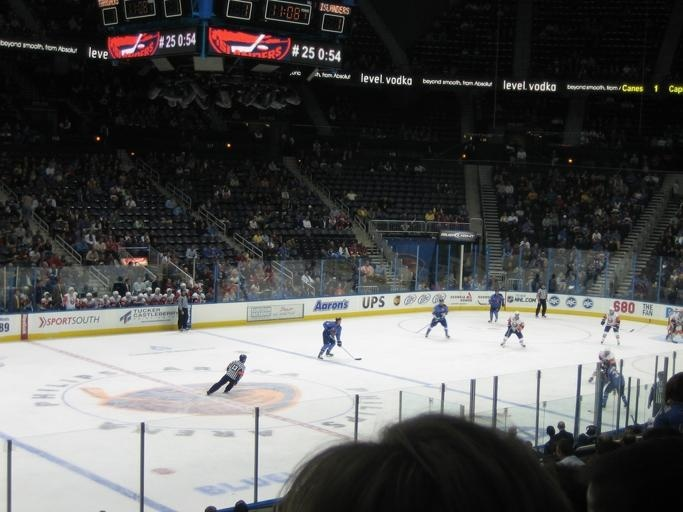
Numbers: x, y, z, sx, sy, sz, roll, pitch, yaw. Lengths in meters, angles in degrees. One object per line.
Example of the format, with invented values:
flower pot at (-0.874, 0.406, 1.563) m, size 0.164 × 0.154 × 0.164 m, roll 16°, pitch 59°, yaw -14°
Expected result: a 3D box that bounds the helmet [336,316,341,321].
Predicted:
helmet at (-0.092, 2.103, 28.932) m, size 0.154 × 0.154 × 0.125 m, roll -2°, pitch 14°, yaw 0°
